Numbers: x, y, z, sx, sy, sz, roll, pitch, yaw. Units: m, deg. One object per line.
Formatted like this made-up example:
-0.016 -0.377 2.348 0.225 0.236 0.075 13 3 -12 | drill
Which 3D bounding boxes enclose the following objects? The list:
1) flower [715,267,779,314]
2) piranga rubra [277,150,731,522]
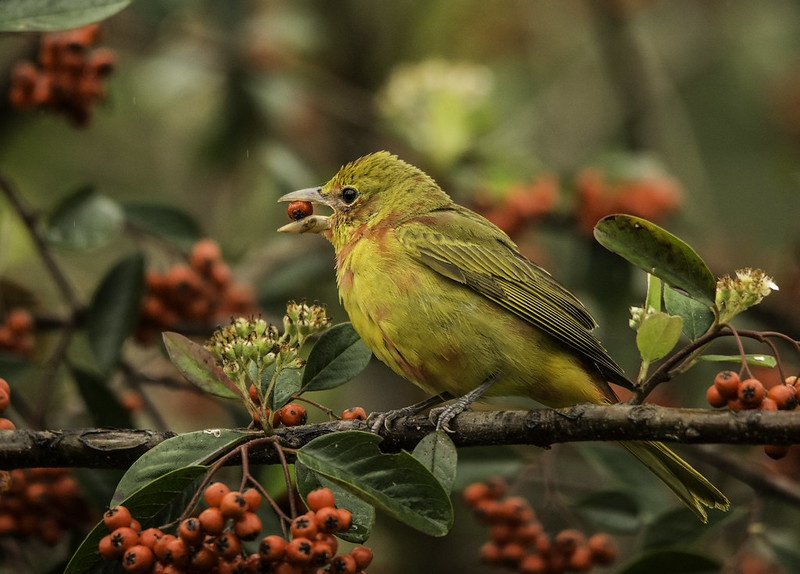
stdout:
1.588 0.017 4.855 0.265 0.201 0.186 -24 35 -28 | flower
0.665 0.110 6.381 1.952 2.319 2.442 1 0 20 | piranga rubra
